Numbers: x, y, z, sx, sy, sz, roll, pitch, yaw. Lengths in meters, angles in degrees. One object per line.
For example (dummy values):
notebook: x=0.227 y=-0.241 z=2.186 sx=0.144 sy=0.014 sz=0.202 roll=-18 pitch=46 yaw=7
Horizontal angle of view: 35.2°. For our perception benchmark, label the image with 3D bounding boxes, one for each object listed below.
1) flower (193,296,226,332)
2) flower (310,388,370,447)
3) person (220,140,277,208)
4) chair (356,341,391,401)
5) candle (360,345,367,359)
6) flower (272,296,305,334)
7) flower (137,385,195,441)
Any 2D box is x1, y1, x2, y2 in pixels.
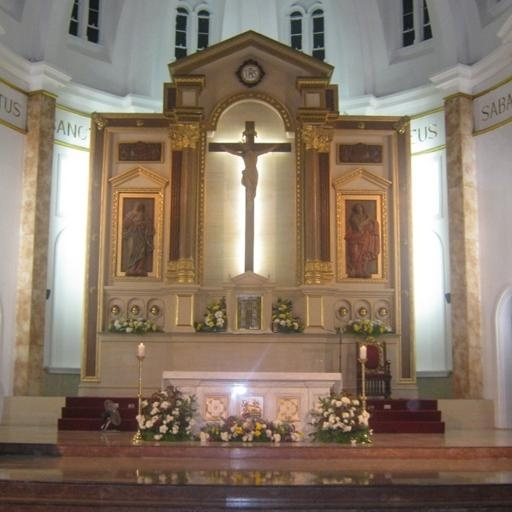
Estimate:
flower: x=-0.751 y=0.932 z=13.086 sx=0.501 sy=0.582 sz=0.641 roll=1 pitch=-6 yaw=-5
flower: x=0.990 y=1.925 z=9.689 sx=0.740 sy=0.600 sz=0.599 roll=0 pitch=-6 yaw=5
person: x=-0.135 y=-1.386 z=13.943 sx=1.212 sy=1.200 sz=0.348 roll=1 pitch=-9 yaw=-7
chair: x=1.901 y=1.784 z=12.816 sx=0.663 sy=0.906 sz=0.695 roll=2 pitch=-6 yaw=-11
candle: x=1.305 y=1.185 z=9.902 sx=0.071 sy=0.189 sz=0.198 roll=0 pitch=-6 yaw=3
flower: x=0.505 y=0.952 z=13.120 sx=0.507 sy=0.584 sz=0.665 roll=0 pitch=-6 yaw=2
flower: x=-1.095 y=1.890 z=9.803 sx=0.641 sy=0.560 sz=0.669 roll=1 pitch=-3 yaw=-15
